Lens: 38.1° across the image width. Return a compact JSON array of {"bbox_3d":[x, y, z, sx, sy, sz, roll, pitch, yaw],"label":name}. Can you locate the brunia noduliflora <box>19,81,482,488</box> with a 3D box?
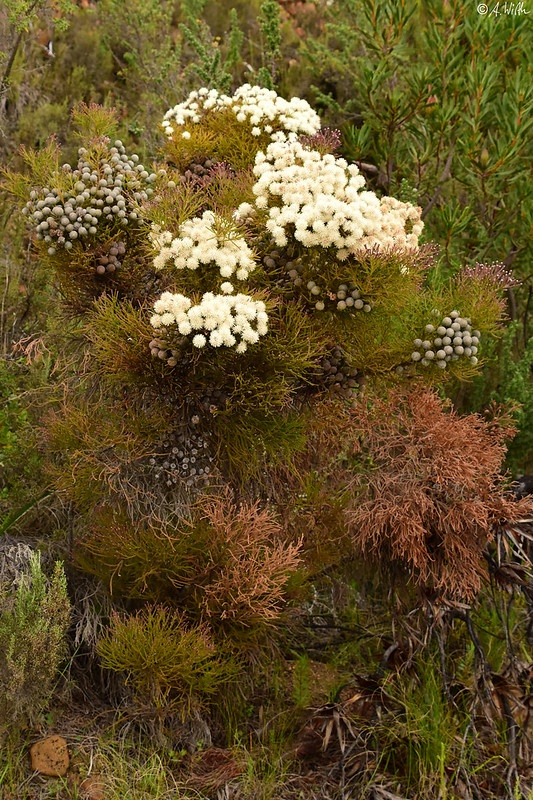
[{"bbox_3d":[-0.054,-0.370,2.663,1.482,1.295,1.161,-5,89,-23],"label":"brunia noduliflora"}]
